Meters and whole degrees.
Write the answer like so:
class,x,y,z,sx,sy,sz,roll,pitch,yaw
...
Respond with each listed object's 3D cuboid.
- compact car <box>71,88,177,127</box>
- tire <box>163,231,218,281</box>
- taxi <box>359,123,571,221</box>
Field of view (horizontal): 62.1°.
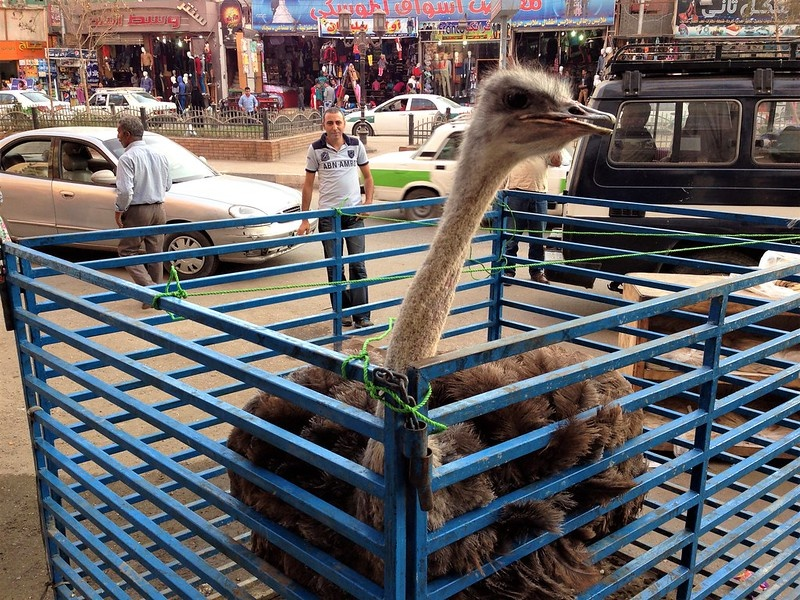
class,x,y,z,sx,sy,sz,roll,pitch,yaw
compact car,-10.967,-7.940,26.521,4.717,1.251,1.829,5,38,15
tire,-2.853,-0.646,9.463,1.035,0.769,0.310,7,15,37
taxi,1.034,-2.186,12.114,4.803,1.485,2.316,-1,17,4
